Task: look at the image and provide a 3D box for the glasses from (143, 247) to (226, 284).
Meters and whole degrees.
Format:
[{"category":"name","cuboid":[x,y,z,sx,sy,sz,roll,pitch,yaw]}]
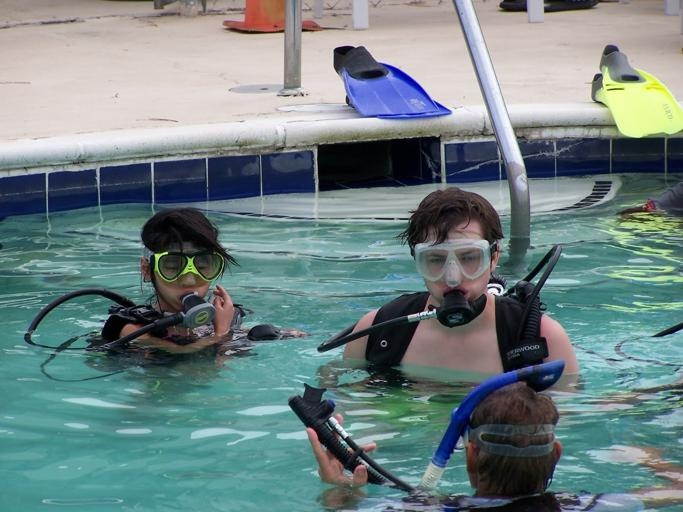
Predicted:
[{"category":"glasses","cuboid":[-0.658,0.033,3.122,0.251,0.059,0.216,-1,6,-26]}]
